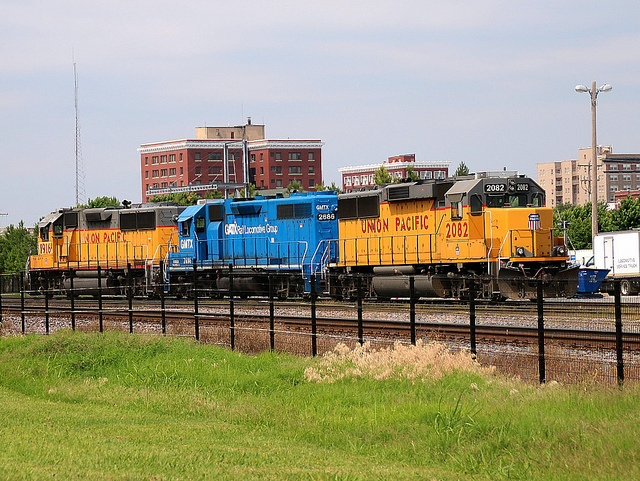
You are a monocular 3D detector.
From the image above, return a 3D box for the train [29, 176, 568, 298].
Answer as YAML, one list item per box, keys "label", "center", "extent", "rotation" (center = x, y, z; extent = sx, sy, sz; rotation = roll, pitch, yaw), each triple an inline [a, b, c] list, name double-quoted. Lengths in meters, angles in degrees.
- label: "train"
  center: [-0.898, 0.164, 34.173]
  extent: [20.930, 4.964, 4.626]
  rotation: [1, -2, 35]

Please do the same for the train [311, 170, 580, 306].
- label: "train"
  center: [3.750, 0.066, 32.383]
  extent: [3.277, 4.637, 10.126]
  rotation: [1, -3, -38]

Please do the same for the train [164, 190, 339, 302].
- label: "train"
  center: [-2.613, 0.401, 36.665]
  extent: [7.126, 4.026, 2.479]
  rotation: [0, -3, 27]

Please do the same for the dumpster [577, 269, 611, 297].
- label: "dumpster"
  center: [9.754, 1.521, 33.296]
  extent: [1.116, 0.828, 1.643]
  rotation: [0, -5, -15]

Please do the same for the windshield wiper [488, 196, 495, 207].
- label: "windshield wiper"
  center: [5.436, -1.225, 29.637]
  extent: [0.039, 0.356, 0.039]
  rotation: [31, 0, -7]
